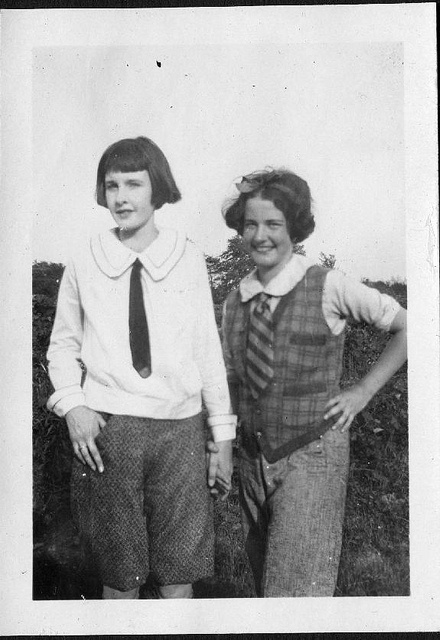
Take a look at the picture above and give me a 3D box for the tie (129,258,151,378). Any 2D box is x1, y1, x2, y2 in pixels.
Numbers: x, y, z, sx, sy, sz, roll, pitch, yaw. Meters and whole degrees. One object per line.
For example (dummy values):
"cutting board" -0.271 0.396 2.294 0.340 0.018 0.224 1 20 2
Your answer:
"tie" -0.248 0.002 1.919 0.054 0.337 0.088 -3 8 -27
